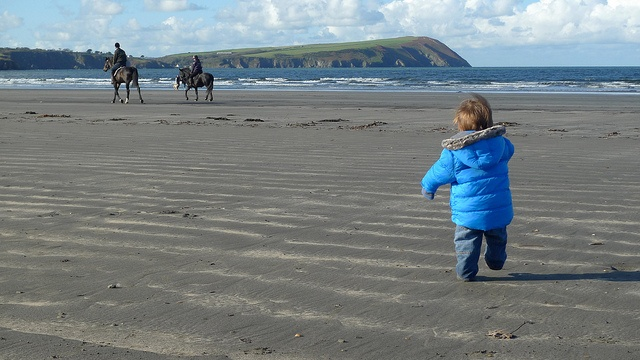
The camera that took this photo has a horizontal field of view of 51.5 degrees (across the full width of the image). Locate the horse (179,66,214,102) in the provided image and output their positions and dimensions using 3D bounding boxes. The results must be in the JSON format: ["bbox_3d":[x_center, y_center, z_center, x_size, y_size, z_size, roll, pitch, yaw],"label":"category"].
[{"bbox_3d":[-5.740,-4.503,30.990,3.025,1.449,0.816,6,2,45],"label":"horse"}]

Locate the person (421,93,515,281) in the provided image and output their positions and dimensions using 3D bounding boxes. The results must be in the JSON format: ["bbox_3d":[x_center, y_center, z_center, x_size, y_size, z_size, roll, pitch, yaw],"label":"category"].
[{"bbox_3d":[1.639,0.080,7.283,0.922,1.954,0.779,0,15,11],"label":"person"}]
